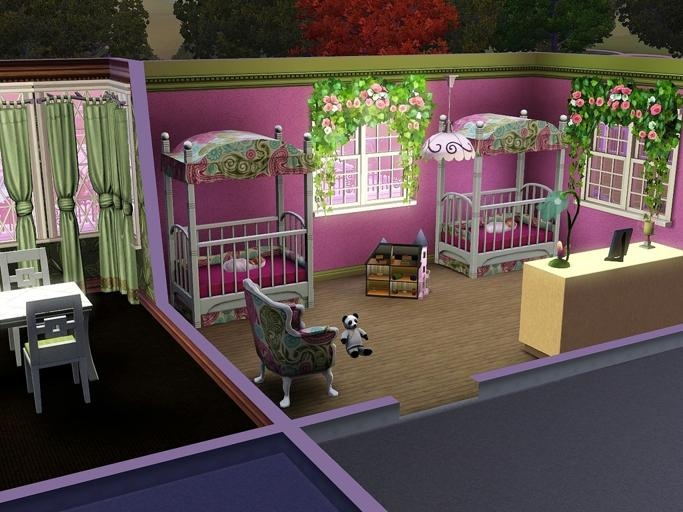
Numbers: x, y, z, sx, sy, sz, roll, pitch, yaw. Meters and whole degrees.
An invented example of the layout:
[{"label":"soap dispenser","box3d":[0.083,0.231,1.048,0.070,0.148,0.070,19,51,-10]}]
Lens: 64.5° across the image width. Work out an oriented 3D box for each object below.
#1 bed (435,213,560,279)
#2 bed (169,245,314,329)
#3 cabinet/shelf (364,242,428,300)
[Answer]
[{"label":"bed","box3d":[2.750,-0.297,10.240,2.032,1.291,1.146,-8,14,-26]},{"label":"bed","box3d":[-1.717,0.326,8.404,2.088,1.295,1.188,-7,14,-28]},{"label":"cabinet/shelf","box3d":[0.941,0.279,9.067,0.874,0.847,0.373,2,7,11]}]
